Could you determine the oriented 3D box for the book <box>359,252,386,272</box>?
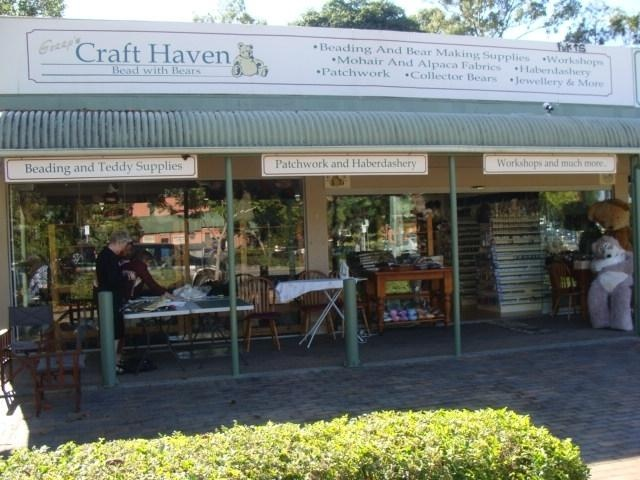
[{"bbox_3d":[1.018,0.421,13.236,0.407,0.152,0.402,5,15,-36],"label":"book"}]

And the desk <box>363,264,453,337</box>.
[{"bbox_3d":[1.781,1.094,13.214,1.540,1.119,1.003,-4,5,-9],"label":"desk"}]

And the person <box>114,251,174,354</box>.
[{"bbox_3d":[-2.903,0.863,11.113,0.851,1.362,0.700,1,15,-12],"label":"person"}]

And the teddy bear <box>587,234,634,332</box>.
[{"bbox_3d":[5.450,0.823,12.542,0.686,1.647,0.876,31,-33,-34],"label":"teddy bear"}]

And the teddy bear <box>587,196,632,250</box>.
[{"bbox_3d":[6.005,-0.366,13.756,0.572,1.158,0.768,18,-26,-32],"label":"teddy bear"}]

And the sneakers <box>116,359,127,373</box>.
[{"bbox_3d":[-3.099,1.977,10.361,0.178,0.169,0.308,5,-9,-11],"label":"sneakers"}]

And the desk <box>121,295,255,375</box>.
[{"bbox_3d":[-2.017,1.398,10.321,1.829,1.137,1.293,-2,5,-8],"label":"desk"}]

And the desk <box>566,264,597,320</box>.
[{"bbox_3d":[5.241,1.127,13.853,0.697,0.918,0.793,-7,-9,-15],"label":"desk"}]
